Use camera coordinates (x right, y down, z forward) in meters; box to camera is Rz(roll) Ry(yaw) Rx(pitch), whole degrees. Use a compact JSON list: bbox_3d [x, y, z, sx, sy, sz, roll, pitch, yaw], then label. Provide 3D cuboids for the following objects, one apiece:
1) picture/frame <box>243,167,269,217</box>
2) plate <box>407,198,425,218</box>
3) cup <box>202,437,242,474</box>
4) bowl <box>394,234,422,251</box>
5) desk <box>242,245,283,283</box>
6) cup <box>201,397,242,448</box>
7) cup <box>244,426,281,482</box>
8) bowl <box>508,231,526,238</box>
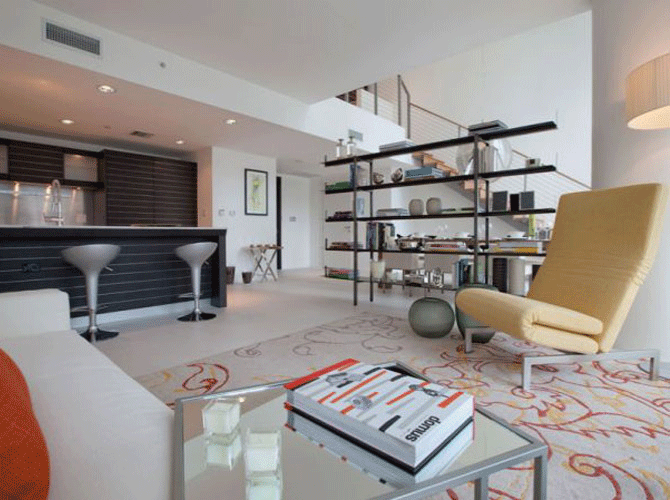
[{"bbox_3d":[-1.461,-1.084,8.730,0.135,0.847,0.607,4,7,31],"label":"picture/frame"},{"bbox_3d":[0.986,-0.512,5.550,0.168,0.196,0.359,1,6,9],"label":"plate"},{"bbox_3d":[-0.488,0.883,2.020,0.113,0.109,0.116,-1,1,0],"label":"cup"},{"bbox_3d":[0.963,-0.089,6.163,0.288,0.122,0.305,1,6,0],"label":"bowl"},{"bbox_3d":[-1.408,0.262,8.884,0.661,0.585,0.277,-6,10,-42],"label":"desk"},{"bbox_3d":[-0.500,0.758,2.090,0.169,0.161,0.167,0,3,0],"label":"cup"},{"bbox_3d":[-0.289,0.829,1.901,0.161,0.152,0.157,0,4,0],"label":"cup"},{"bbox_3d":[2.077,-0.176,5.252,0.218,0.084,0.176,0,0,-14],"label":"bowl"}]
